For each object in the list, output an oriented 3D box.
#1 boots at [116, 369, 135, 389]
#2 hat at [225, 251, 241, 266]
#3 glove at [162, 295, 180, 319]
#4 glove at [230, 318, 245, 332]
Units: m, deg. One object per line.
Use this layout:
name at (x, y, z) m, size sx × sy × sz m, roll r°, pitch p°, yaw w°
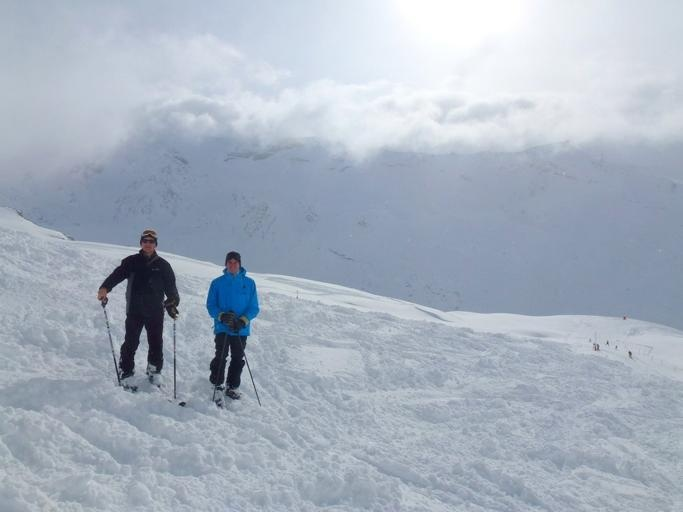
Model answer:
boots at (-5.713, 3.297, 18.320) m, size 0.574 × 0.527 × 0.389 m, roll 8°, pitch 1°, yaw -7°
hat at (-2.967, 0.048, 18.870) m, size 0.340 × 0.326 × 0.369 m, roll 3°, pitch -11°, yaw -4°
glove at (-4.565, 1.374, 18.584) m, size 0.404 × 0.593 × 0.240 m, roll -2°, pitch 4°, yaw 1°
glove at (-2.795, 1.861, 18.530) m, size 0.388 × 0.405 × 0.318 m, roll 16°, pitch -5°, yaw -20°
